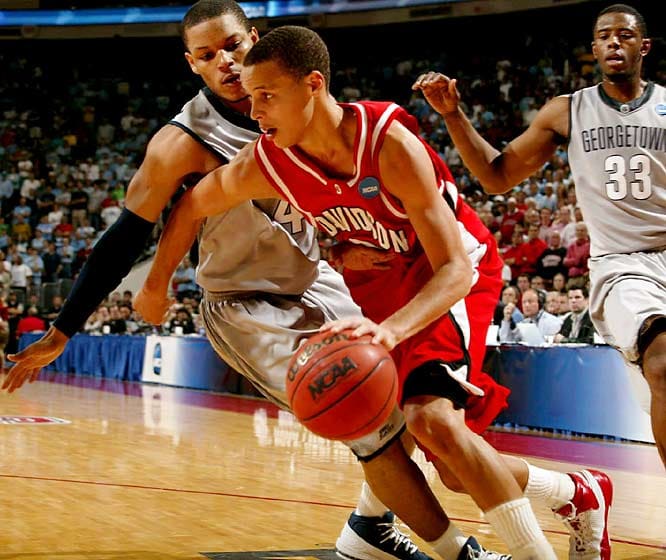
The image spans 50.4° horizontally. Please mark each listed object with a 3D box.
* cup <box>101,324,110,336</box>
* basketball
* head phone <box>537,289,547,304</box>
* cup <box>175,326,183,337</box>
[{"bbox_3d":[-4.054,0.901,12.765,0.170,0.177,0.169,0,-4,0],"label":"cup"},{"bbox_3d":[0.029,0.290,2.047,0.305,0.294,0.292,-18,-8,13],"label":"basketball"},{"bbox_3d":[2.100,0.174,7.141,0.049,0.141,0.108,-8,5,27],"label":"head phone"},{"bbox_3d":[-2.394,0.809,11.028,0.160,0.149,0.158,3,-3,0],"label":"cup"}]
